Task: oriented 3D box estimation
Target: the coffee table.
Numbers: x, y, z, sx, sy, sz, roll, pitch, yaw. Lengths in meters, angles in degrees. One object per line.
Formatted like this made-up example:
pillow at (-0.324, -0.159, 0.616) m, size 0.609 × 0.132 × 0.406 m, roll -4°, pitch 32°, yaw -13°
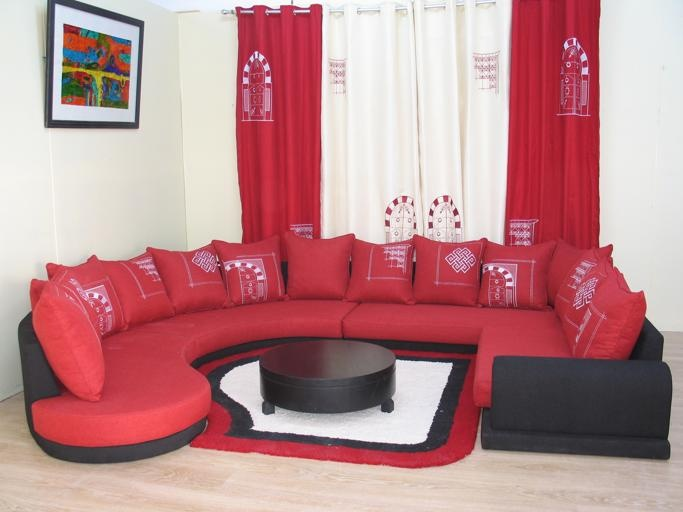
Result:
coffee table at (-0.107, 0.801, 3.672) m, size 0.558 × 0.203 × 0.564 m, roll 1°, pitch 7°, yaw 14°

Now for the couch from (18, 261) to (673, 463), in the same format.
couch at (-0.034, 0.625, 3.884) m, size 3.882 × 0.865 × 1.712 m, roll -3°, pitch 14°, yaw 3°
